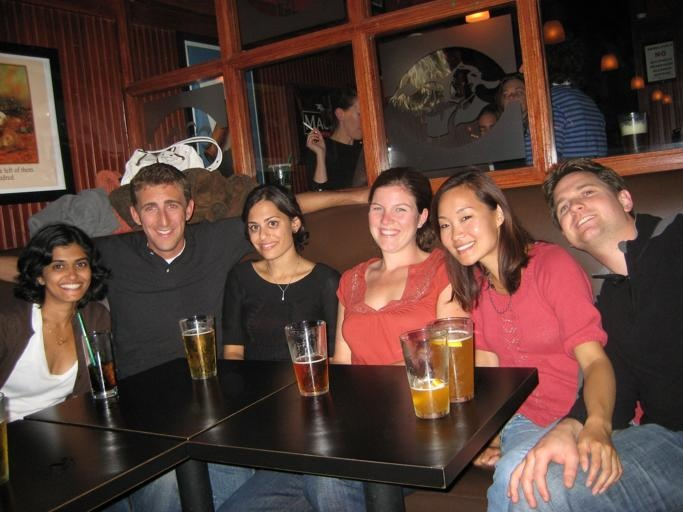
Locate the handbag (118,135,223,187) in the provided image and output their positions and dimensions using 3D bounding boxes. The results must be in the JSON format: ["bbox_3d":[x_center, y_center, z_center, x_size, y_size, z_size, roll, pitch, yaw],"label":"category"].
[{"bbox_3d":[-1.000,-0.587,3.340,0.645,0.350,0.235,-7,-36,0],"label":"handbag"}]

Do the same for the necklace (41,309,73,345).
[{"bbox_3d":[-1.251,0.313,2.325,0.121,0.156,0.067,-1,-9,-22],"label":"necklace"}]

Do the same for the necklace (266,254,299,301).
[{"bbox_3d":[-0.271,0.101,2.392,0.229,0.250,0.022,0,0,3],"label":"necklace"}]

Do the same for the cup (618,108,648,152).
[{"bbox_3d":[1.295,-0.554,2.336,0.110,0.176,0.110,-7,11,1],"label":"cup"}]
